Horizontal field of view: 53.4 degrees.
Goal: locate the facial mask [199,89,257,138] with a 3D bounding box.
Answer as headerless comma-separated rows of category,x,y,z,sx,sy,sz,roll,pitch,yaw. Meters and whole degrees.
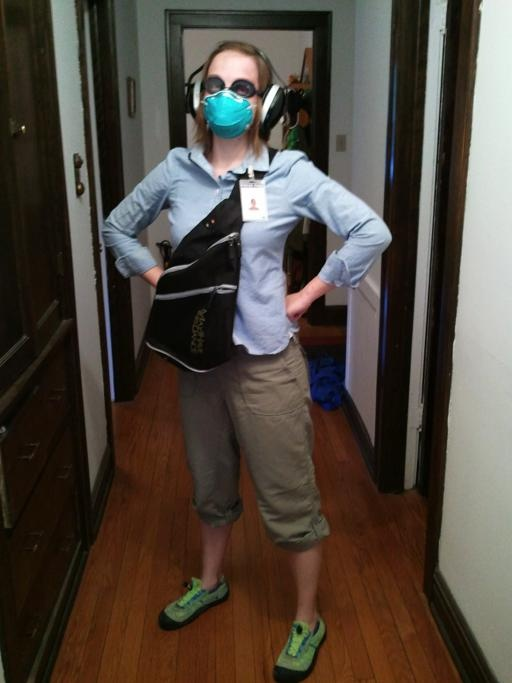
facial mask,-0.065,-0.477,1.083,0.124,0.093,0.113,3,11,15

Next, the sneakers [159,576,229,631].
sneakers,-0.188,0.774,1.564,0.078,0.143,0.233,9,18,41

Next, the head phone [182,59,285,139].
head phone,-0.027,-0.566,1.222,0.208,0.216,0.210,4,24,8

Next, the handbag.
handbag,-0.130,-0.113,1.101,0.149,0.386,0.207,-4,18,-16
